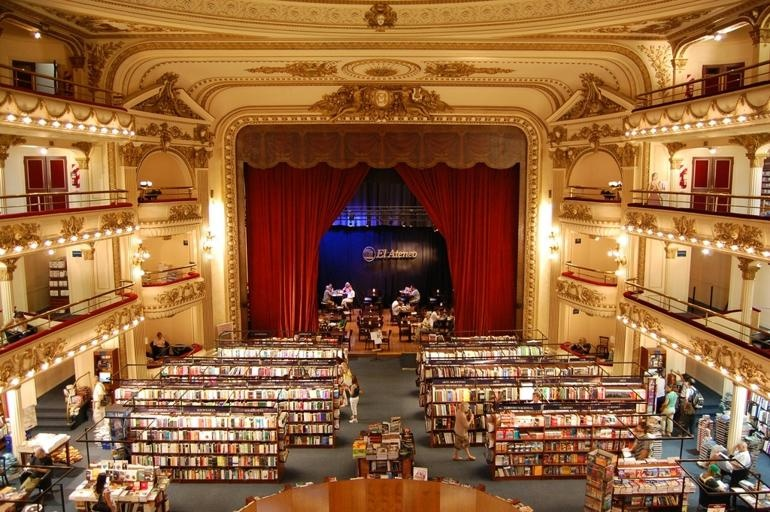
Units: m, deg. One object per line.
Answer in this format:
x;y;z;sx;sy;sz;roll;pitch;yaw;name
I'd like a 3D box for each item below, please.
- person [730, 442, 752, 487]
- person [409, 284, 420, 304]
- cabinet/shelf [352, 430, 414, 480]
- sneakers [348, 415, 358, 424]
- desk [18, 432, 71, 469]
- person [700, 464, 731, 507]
8.659;4.992;13.479;0.396;1.127;1.005;1;0;33;person
1.322;1.787;25.434;0.620;1.044;0.707;2;1;14;person
-0.011;4.964;13.856;1.209;0.766;1.212;-1;1;-17;cabinet/shelf
-0.941;4.861;16.600;0.320;0.230;0.118;3;2;3;sneakers
-9.056;5.124;14.811;1.426;0.653;1.451;-20;-27;39;desk
7.776;5.460;13.061;0.628;1.058;1.325;1;0;31;person
